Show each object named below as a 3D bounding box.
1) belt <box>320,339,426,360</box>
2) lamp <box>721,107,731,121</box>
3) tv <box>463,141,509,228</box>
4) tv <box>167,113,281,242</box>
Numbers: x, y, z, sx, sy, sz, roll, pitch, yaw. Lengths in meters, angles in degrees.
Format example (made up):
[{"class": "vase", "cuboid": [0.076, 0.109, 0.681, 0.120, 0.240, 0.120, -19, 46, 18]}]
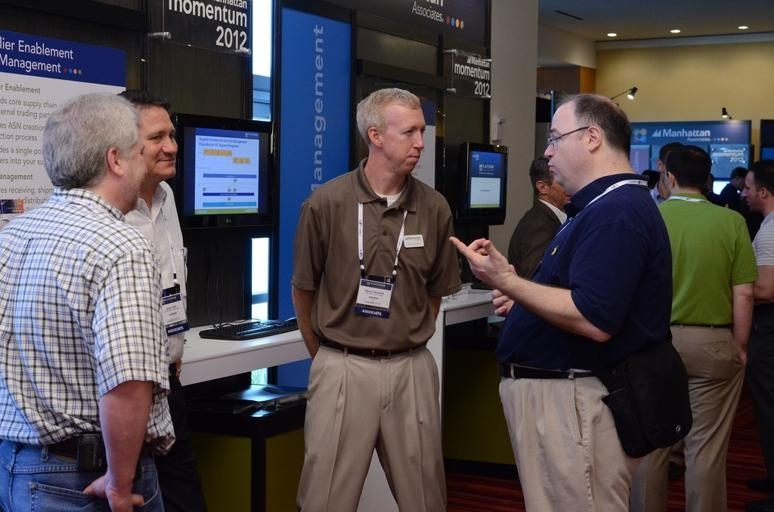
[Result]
[{"class": "belt", "cuboid": [-0.053, 0.403, 2.840, 0.470, 0.073, 0.116, 0, 7, -7]}, {"class": "lamp", "cuboid": [6.754, -2.841, 12.543, 0.198, 0.279, 0.730, 4, 8, 29]}, {"class": "tv", "cuboid": [0.814, -0.599, 5.215, 0.112, 0.916, 0.676, -2, -2, 42]}, {"class": "tv", "cuboid": [-0.899, -0.430, 3.430, 0.089, 0.672, 0.695, 1, 2, 40]}]
